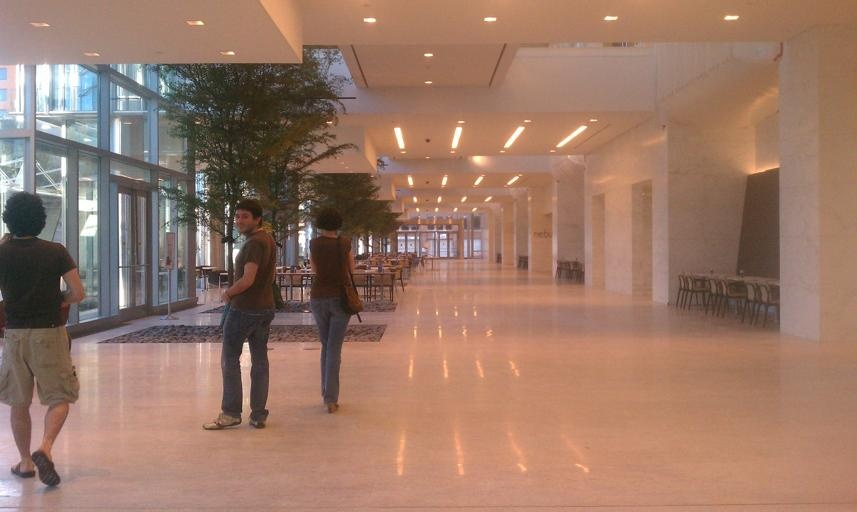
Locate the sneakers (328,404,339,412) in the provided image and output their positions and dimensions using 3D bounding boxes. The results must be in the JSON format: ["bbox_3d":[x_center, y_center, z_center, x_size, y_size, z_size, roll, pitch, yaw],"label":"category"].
[{"bbox_3d":[-1.325,2.085,9.154,0.102,0.125,0.203,0,-1,17],"label":"sneakers"}]

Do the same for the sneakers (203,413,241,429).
[{"bbox_3d":[-2.740,2.180,8.640,0.422,0.154,0.219,2,-2,-1],"label":"sneakers"}]

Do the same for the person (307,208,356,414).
[{"bbox_3d":[-1.380,0.739,9.236,0.607,2.817,0.501,1,-1,-8],"label":"person"}]

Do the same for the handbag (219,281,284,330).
[{"bbox_3d":[-2.414,0.640,8.848,0.906,0.742,0.598,1,-1,3],"label":"handbag"}]

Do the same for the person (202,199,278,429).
[{"bbox_3d":[-2.425,0.754,8.639,0.756,3.027,0.721,1,-1,-16],"label":"person"}]

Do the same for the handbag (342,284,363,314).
[{"bbox_3d":[-1.032,0.608,9.205,0.224,0.399,0.408,0,-1,14],"label":"handbag"}]

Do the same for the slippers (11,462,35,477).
[{"bbox_3d":[-4.689,2.474,7.620,0.313,0.106,0.118,4,0,20],"label":"slippers"}]

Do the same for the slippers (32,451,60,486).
[{"bbox_3d":[-4.322,2.374,7.405,0.278,0.416,0.152,1,-1,-24],"label":"slippers"}]
